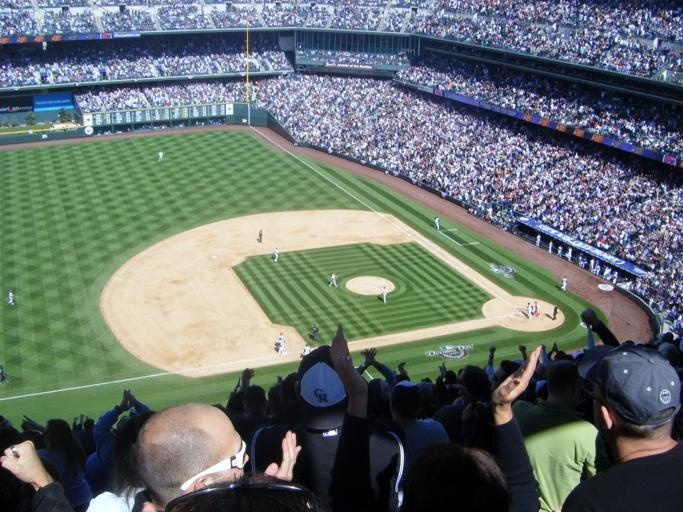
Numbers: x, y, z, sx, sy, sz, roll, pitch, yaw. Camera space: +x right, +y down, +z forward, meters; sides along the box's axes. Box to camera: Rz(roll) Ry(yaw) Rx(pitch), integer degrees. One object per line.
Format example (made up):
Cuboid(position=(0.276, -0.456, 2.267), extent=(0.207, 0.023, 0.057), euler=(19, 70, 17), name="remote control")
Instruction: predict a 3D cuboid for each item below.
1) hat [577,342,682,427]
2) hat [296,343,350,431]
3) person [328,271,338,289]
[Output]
Cuboid(position=(3.088, 1.362, 7.003), extent=(0.744, 0.592, 1.013), euler=(-14, 47, -9), name="hat")
Cuboid(position=(-0.225, 1.742, 8.344), extent=(0.719, 0.612, 1.196), euler=(-3, 39, -8), name="hat")
Cuboid(position=(-0.534, 1.570, 42.961), extent=(0.839, 1.232, 0.589), euler=(16, 46, 19), name="person")
